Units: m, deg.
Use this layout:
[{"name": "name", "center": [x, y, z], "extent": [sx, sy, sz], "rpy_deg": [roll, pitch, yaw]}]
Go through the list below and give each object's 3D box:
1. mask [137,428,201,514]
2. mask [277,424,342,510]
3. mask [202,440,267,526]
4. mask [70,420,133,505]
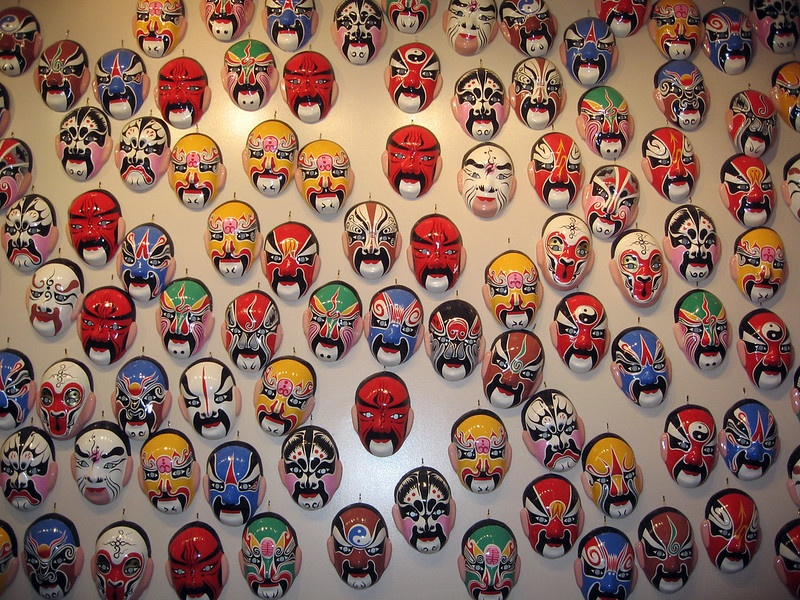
[{"name": "mask", "center": [-1.026, 0.755, 4.092], "extent": [0.260, 0.137, 0.423], "rpy_deg": [-2, -81, -7]}, {"name": "mask", "center": [-0.400, 0.741, 4.072], "extent": [0.284, 0.126, 0.423], "rpy_deg": [0, -99, -3]}, {"name": "mask", "center": [-0.727, 0.794, 4.084], "extent": [0.275, 0.221, 0.264], "rpy_deg": [2, -57, -10]}, {"name": "mask", "center": [-1.330, 0.724, 4.099], "extent": [0.256, 0.145, 0.415], "rpy_deg": [3, -83, -7]}]
